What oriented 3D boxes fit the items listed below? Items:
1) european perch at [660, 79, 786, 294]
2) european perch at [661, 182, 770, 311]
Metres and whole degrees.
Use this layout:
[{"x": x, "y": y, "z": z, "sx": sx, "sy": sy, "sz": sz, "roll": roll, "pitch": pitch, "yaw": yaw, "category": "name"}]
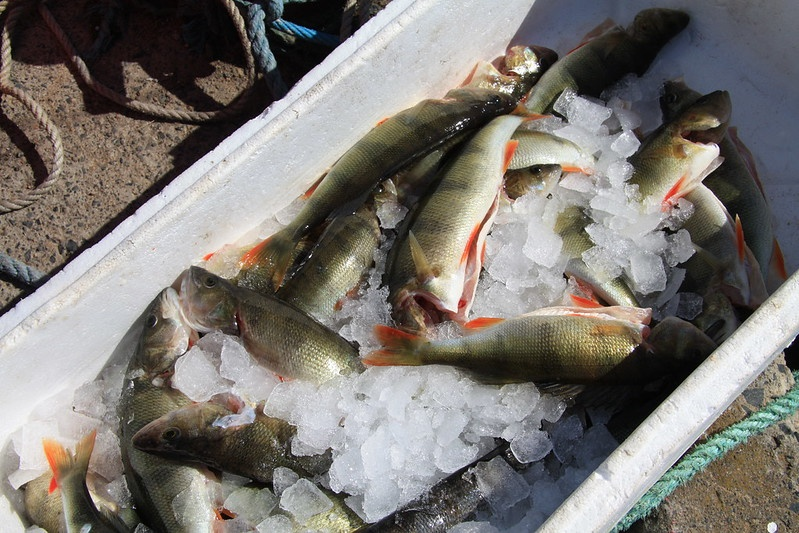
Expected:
[{"x": 1.712, "y": -0.382, "z": 4.224, "sx": 0.376, "sy": 0.226, "sz": 1.071, "roll": -16, "pitch": 81, "yaw": -6, "category": "european perch"}, {"x": 1.691, "y": -0.122, "z": 4.337, "sx": 0.362, "sy": 0.261, "sz": 0.840, "roll": -20, "pitch": 72, "yaw": 0, "category": "european perch"}]
